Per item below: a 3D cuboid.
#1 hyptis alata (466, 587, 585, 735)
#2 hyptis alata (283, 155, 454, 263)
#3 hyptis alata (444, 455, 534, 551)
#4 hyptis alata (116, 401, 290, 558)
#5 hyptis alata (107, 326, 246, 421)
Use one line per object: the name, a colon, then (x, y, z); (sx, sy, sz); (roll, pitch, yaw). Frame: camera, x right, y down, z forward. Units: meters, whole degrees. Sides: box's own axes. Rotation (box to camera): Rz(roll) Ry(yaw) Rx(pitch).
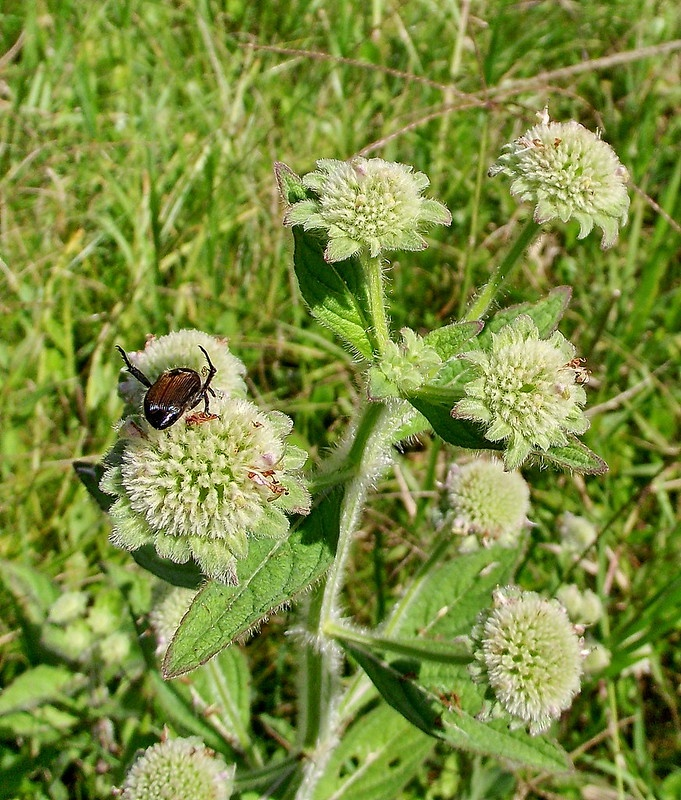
hyptis alata: (0.786, 1.086, 3.304); (0.497, 0.308, 0.567); (12, 69, 9)
hyptis alata: (0.128, -0.755, 3.187); (0.689, 0.701, 0.386); (3, 94, 32)
hyptis alata: (0.756, 0.522, 4.462); (0.305, 0.399, 0.539); (-67, 25, 9)
hyptis alata: (-0.518, 0.278, 2.904); (0.677, 0.214, 0.576); (-8, 67, 1)
hyptis alata: (-0.712, -0.092, 3.499); (0.561, 0.569, 0.192); (-17, 104, -1)
